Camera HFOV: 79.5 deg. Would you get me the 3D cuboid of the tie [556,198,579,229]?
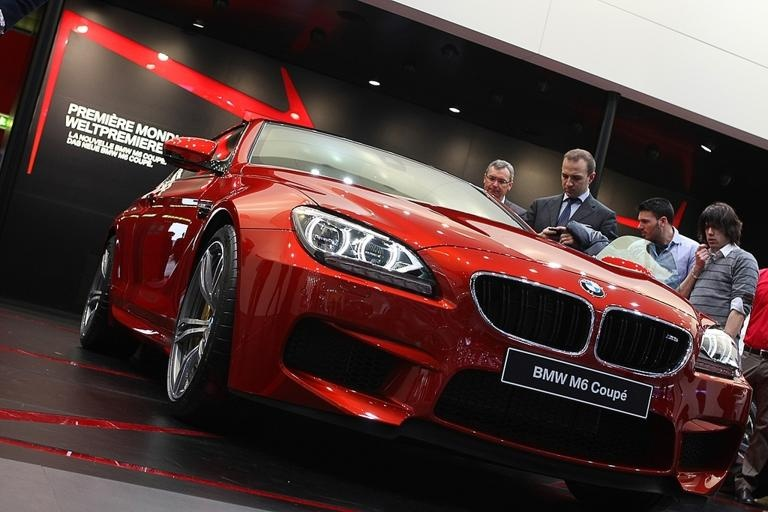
[{"bbox_3d":[1.829,-0.435,4.643,0.073,0.370,0.130,35,-25,-32],"label":"tie"}]
